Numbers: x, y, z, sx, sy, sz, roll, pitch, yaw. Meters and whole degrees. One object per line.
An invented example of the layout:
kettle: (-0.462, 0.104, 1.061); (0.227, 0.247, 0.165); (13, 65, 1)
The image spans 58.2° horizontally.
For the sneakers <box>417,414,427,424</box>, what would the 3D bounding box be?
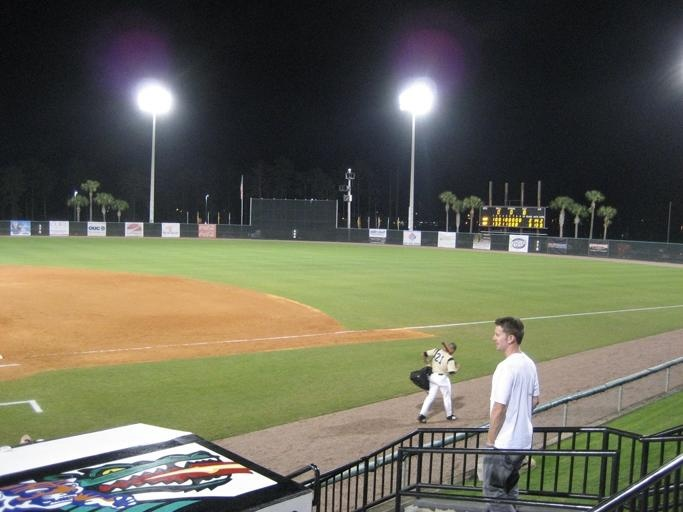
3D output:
sneakers: (1.390, 2.853, 10.808); (0.132, 0.162, 0.365); (-2, -10, 10)

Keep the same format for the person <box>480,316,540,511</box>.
person: (1.788, 1.707, 6.575); (0.548, 2.105, 0.799); (8, 2, 15)

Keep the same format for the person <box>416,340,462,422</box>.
person: (1.833, 2.242, 11.508); (0.714, 1.397, 1.705); (8, 1, 9)

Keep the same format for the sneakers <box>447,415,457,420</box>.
sneakers: (1.947, 2.849, 10.928); (0.179, 0.077, 0.078); (-2, 4, -20)
